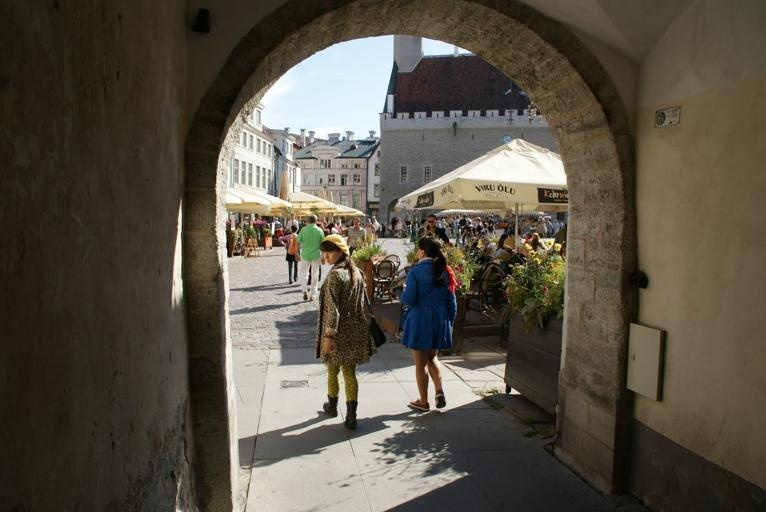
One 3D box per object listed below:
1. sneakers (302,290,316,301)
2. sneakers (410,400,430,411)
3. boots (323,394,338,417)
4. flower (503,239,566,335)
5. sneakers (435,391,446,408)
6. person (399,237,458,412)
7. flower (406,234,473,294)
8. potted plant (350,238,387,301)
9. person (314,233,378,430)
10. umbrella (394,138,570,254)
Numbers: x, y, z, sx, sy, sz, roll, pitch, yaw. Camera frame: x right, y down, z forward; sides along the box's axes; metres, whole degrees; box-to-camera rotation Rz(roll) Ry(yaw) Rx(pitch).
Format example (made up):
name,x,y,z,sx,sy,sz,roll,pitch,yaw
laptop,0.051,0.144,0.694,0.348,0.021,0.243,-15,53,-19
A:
name,x,y,z,sx,sy,sz,roll,pitch,yaw
sneakers,-1.554,0.839,12.272,0.133,0.189,0.418,7,6,5
sneakers,0.359,1.488,5.740,0.201,0.096,0.087,8,-4,25
boots,-0.504,1.420,5.553,0.113,0.232,0.204,-3,21,-14
flower,1.664,0.332,5.821,0.663,0.680,0.695,1,-2,-31
sneakers,0.556,1.403,5.657,0.081,0.187,0.116,1,33,0
person,0.448,0.662,5.778,0.500,1.709,0.489,2,6,13
flower,0.982,0.121,8.292,0.921,0.674,0.947,-4,6,-42
potted plant,-0.314,0.251,10.813,0.891,1.297,0.900,-1,3,1
person,-0.338,0.689,5.300,0.535,1.731,0.511,0,5,-7
umbrella,1.789,-1.162,8.797,2.486,1.265,2.650,-1,7,-4
